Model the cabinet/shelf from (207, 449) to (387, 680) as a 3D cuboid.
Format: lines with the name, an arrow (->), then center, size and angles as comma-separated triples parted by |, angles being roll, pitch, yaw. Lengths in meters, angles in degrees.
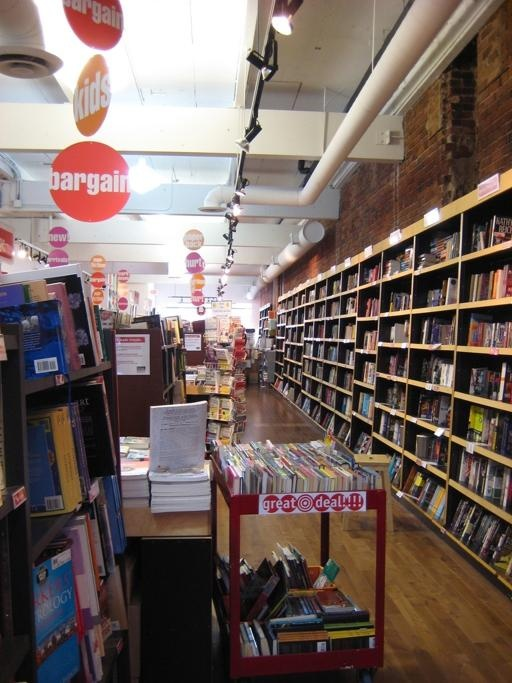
cabinet/shelf -> 0.144, 1.021, 2.306 | 0.702, 0.995, 0.777 | 1, 0, -9
